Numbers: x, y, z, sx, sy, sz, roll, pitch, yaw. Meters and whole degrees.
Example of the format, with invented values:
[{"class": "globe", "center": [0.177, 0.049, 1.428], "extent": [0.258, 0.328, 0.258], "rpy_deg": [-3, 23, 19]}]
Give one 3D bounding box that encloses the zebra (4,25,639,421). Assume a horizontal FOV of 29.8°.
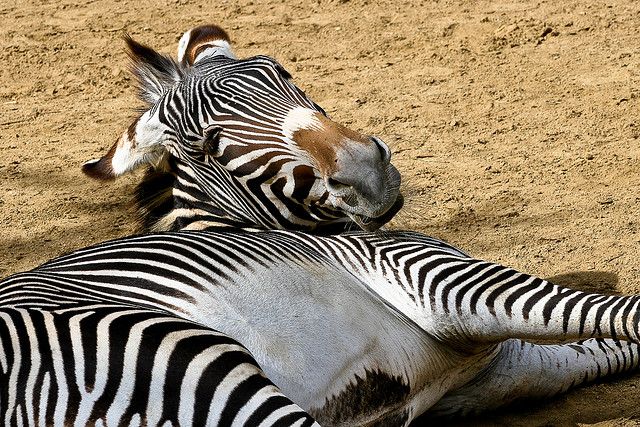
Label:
[{"class": "zebra", "center": [-0.102, 0.430, 7.929], "extent": [3.671, 2.033, 2.387], "rpy_deg": [14, 29, 4]}]
